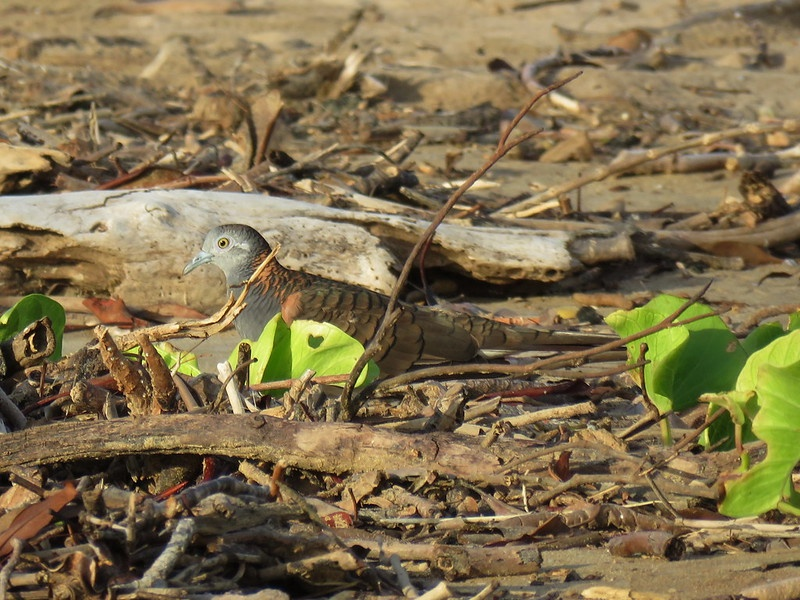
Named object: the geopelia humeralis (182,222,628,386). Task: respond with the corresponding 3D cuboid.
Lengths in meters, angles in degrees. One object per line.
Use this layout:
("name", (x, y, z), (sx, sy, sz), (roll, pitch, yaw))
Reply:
("geopelia humeralis", (-0.204, 0.050, 5.961), (2.366, 0.432, 0.720), (13, 38, 12))
